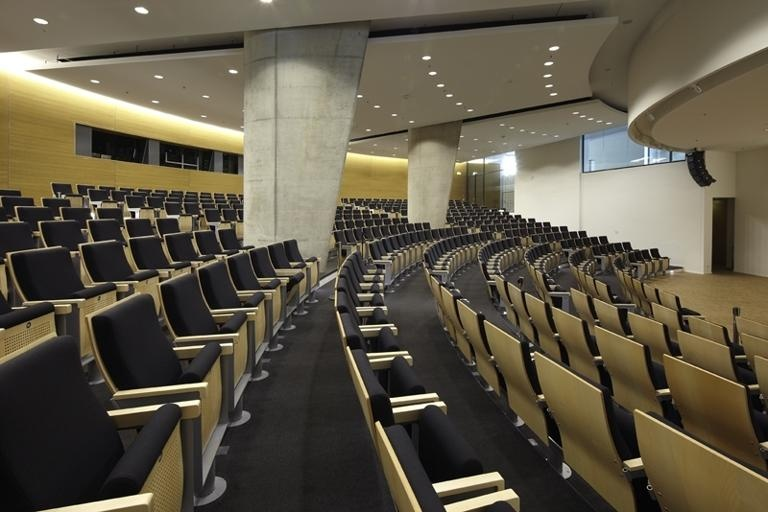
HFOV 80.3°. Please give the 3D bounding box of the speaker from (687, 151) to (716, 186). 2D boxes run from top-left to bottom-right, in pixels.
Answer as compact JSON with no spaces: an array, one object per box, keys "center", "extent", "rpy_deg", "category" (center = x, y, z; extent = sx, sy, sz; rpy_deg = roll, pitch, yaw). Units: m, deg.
[{"center":[8.384,-2.349,12.085],"extent":[0.389,0.915,0.664],"rpy_deg":[1,5,-6],"category":"speaker"}]
